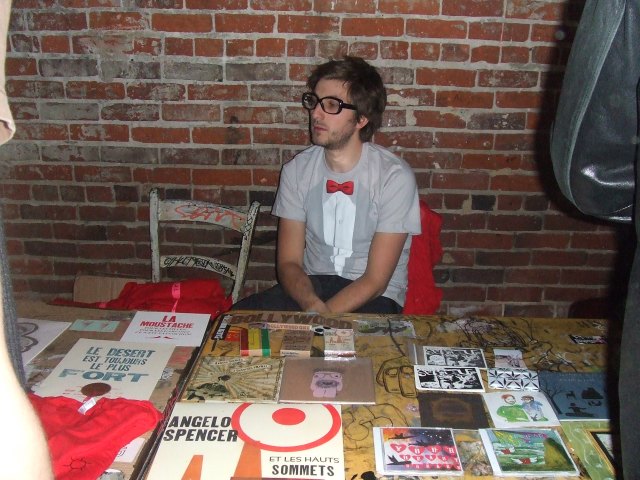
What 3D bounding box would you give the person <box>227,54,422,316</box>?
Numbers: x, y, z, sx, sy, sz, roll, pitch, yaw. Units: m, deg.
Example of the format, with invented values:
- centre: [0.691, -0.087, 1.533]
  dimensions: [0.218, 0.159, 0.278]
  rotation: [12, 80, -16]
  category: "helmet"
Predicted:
- centre: [0.068, -0.207, 2.108]
  dimensions: [0.634, 1.054, 0.731]
  rotation: [-7, -45, 9]
  category: "person"
